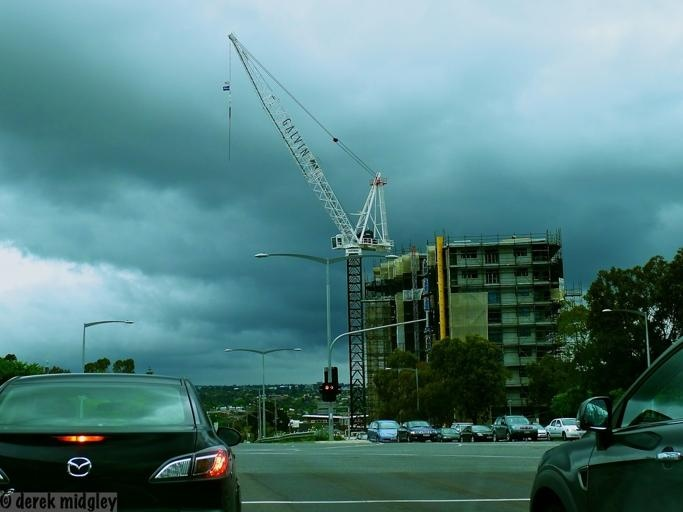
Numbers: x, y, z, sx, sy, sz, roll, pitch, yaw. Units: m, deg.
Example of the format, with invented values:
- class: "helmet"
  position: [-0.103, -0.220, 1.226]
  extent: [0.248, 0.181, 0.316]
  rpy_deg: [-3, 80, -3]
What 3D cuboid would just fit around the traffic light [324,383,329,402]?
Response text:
- class: "traffic light"
  position: [-0.633, 5.883, 46.274]
  extent: [0.284, 0.717, 0.585]
  rpy_deg: [-2, -13, 0]
